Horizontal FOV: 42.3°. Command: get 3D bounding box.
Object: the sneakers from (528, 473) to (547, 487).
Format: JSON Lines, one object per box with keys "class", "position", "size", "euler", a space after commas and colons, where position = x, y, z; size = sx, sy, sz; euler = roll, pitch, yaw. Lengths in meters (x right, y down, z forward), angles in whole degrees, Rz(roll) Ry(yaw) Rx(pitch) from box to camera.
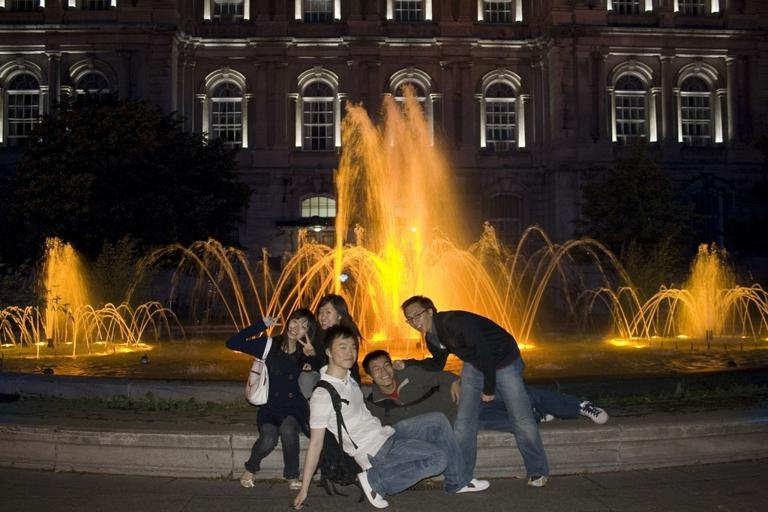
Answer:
{"class": "sneakers", "position": [3.832, 5.523, 24.528], "size": [0.433, 0.235, 0.151], "euler": [-5, 5, 9]}
